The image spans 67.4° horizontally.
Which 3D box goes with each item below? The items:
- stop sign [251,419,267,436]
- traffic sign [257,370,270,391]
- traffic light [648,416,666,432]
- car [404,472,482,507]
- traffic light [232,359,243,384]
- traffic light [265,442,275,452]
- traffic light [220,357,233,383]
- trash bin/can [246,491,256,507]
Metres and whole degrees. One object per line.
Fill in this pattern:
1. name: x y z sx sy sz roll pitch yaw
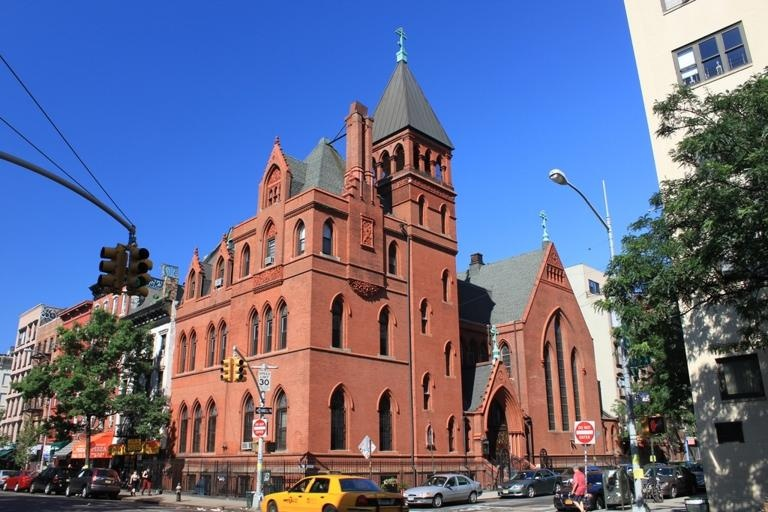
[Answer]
1. stop sign: -7.325 10.228 34.054 0.682 1.138 0.963 6 -26 -17
2. traffic sign: -7.169 7.397 34.335 0.646 1.258 0.871 5 -25 -14
3. traffic light: 11.691 7.325 24.679 0.683 0.695 0.701 3 -7 -8
4. car: 3.625 14.429 35.277 4.221 1.430 1.918 16 -26 -33
5. traffic light: -8.196 6.383 32.312 0.528 1.209 0.453 3 -25 -11
6. traffic light: -7.625 12.918 38.655 0.800 0.733 0.221 -20 -30 34
7. traffic light: -8.777 6.442 32.376 0.587 1.222 0.876 3 -25 -11
8. trash bin/can: -7.918 14.531 34.158 0.405 0.891 0.850 4 -25 -12
